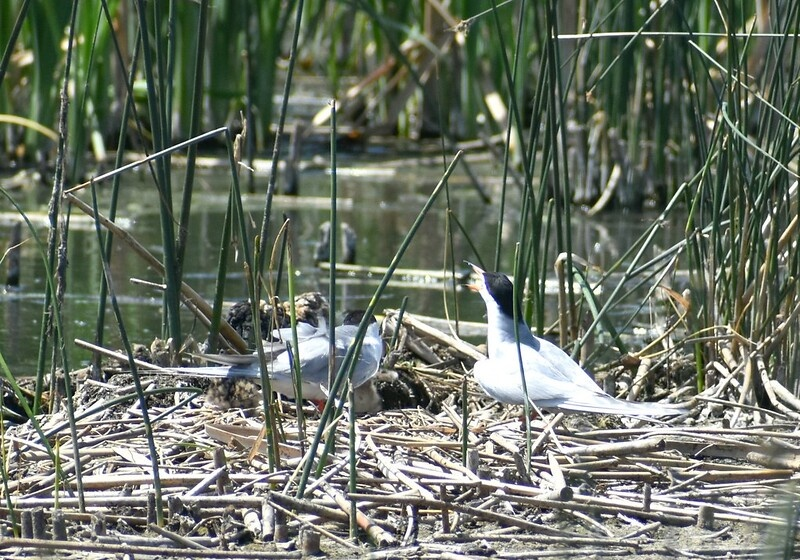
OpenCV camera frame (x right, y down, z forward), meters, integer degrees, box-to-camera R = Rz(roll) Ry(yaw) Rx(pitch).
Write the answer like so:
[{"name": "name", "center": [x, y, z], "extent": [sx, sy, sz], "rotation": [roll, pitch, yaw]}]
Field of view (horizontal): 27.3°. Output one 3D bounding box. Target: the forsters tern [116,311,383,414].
[{"name": "forsters tern", "center": [-0.553, 0.344, 8.077], "extent": [1.031, 0.528, 0.352], "rotation": [5, 10, -4]}]
